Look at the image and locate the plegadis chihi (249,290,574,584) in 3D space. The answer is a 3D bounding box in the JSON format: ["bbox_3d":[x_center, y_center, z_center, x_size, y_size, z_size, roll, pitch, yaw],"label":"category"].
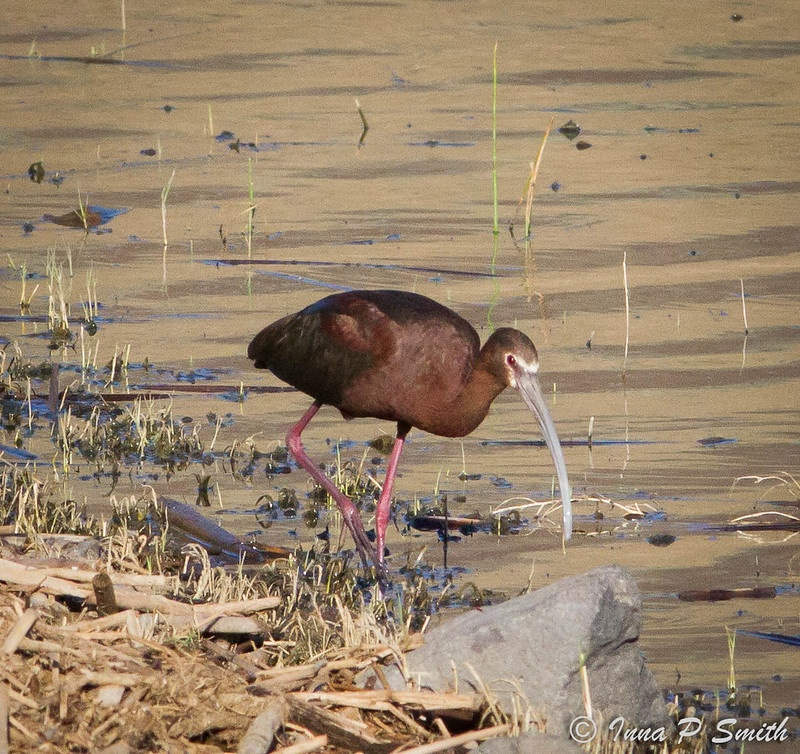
[{"bbox_3d":[0.031,0.308,12.025,2.263,1.808,0.769,0,-3,40],"label":"plegadis chihi"}]
